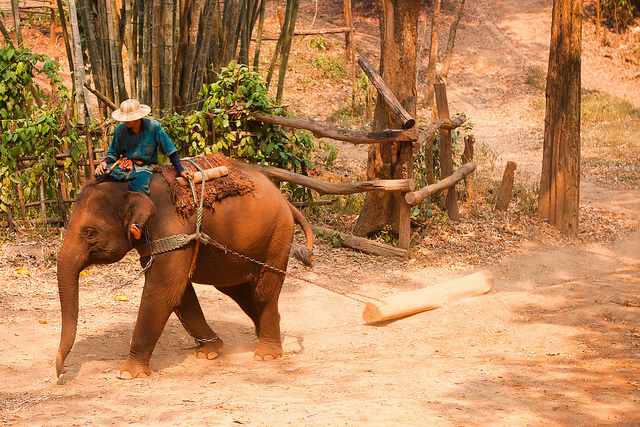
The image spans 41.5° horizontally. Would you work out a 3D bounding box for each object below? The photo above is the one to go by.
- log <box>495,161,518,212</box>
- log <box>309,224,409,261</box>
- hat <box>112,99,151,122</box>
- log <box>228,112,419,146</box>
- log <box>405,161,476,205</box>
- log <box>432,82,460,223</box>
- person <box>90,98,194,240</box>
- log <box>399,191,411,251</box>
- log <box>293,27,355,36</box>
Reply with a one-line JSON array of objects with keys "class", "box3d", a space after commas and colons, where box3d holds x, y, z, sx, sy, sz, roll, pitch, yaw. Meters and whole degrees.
[{"class": "log", "box3d": [3.424, -0.540, 15.742, 0.298, 0.922, 0.489, 5, 14, 11]}, {"class": "log", "box3d": [0.633, 0.464, 13.693, 1.356, 0.176, 0.196, 16, 30, 18]}, {"class": "hat", "box3d": [-2.323, -1.282, 10.386, 0.331, 0.128, 0.329, 11, 35, 42]}, {"class": "log", "box3d": [-0.008, -1.456, 13.959, 3.323, 0.514, 0.538, 13, 14, 35]}, {"class": "log", "box3d": [2.145, -0.548, 14.693, 1.837, 0.184, 0.149, -29, -6, -39]}, {"class": "log", "box3d": [2.429, -1.119, 15.803, 0.418, 3.115, 0.324, -34, 40, -28]}, {"class": "person", "box3d": [-2.273, -0.835, 10.437, 1.134, 1.135, 0.509, -1, 14, -14]}, {"class": "log", "box3d": [1.349, 0.082, 13.564, 0.178, 0.943, 0.325, 3, 14, 3]}, {"class": "log", "box3d": [0.139, -4.816, 22.169, 1.231, 0.213, 6.094, 2, 12, 1]}]
